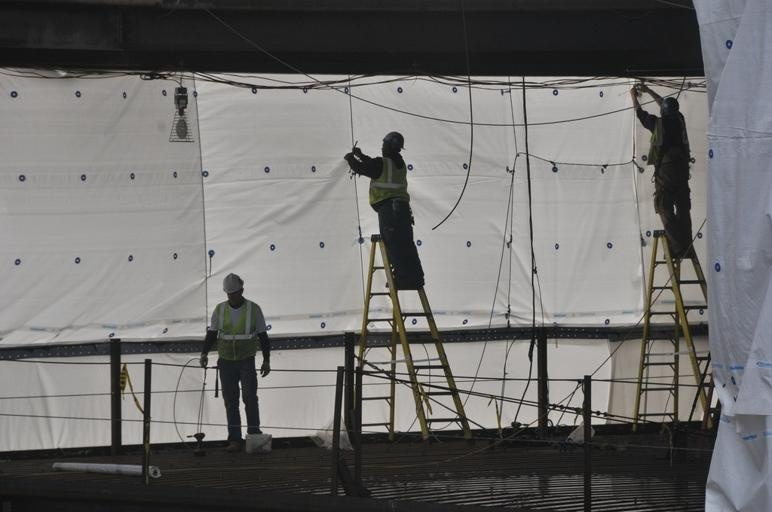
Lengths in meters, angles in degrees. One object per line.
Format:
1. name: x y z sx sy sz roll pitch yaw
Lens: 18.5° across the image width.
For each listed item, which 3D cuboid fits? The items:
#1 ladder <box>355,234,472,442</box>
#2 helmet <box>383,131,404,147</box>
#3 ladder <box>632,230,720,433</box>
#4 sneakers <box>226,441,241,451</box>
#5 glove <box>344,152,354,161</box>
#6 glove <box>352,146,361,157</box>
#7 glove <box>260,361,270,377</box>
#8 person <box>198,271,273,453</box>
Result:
1. ladder: 0.235 0.835 24.312 1.086 2.074 0.450 -1 -14 0
2. helmet: 0.094 -1.208 24.406 0.186 0.085 0.134 23 3 -17
3. ladder: 2.946 0.763 24.511 0.838 2.036 0.441 -3 -14 6
4. sneakers: -1.563 1.953 24.311 0.146 0.058 0.072 9 -11 -37
5. glove: -0.375 -1.022 24.409 0.074 0.061 0.070 -3 2 42
6. glove: -0.294 -1.066 24.417 0.082 0.092 0.099 2 -43 -12
7. glove: -1.244 1.176 24.407 0.111 0.127 0.132 1 6 -1
8. person: -1.541 1.102 24.342 0.713 1.752 0.420 0 -14 -3
